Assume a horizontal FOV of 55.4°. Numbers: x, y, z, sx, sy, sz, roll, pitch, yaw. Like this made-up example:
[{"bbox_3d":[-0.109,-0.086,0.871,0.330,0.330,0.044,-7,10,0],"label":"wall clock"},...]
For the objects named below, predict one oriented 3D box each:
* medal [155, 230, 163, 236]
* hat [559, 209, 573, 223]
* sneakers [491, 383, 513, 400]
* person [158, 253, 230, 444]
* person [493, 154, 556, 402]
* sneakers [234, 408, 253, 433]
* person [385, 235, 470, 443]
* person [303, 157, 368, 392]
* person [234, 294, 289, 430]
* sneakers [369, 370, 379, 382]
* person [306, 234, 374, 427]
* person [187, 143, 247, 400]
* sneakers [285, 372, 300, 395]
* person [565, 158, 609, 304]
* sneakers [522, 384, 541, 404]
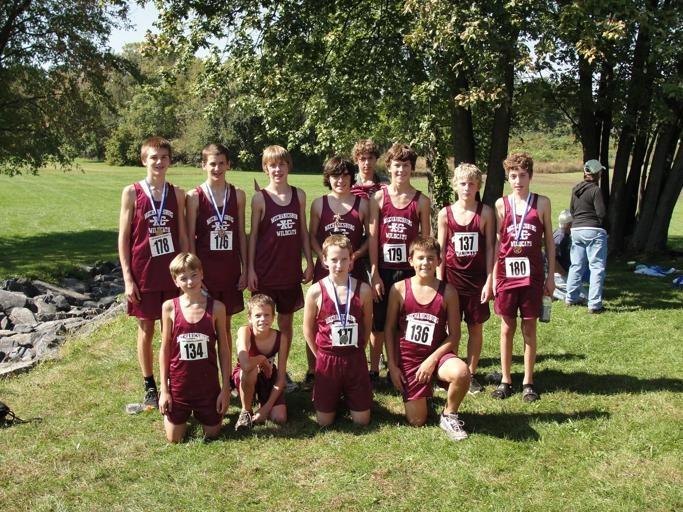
[{"bbox_3d":[-2.111,-0.271,7.510,0.076,0.080,0.057,2,-4,-11],"label":"medal"},{"bbox_3d":[4.087,-0.743,11.923,0.175,0.257,0.206,17,-8,42],"label":"hat"},{"bbox_3d":[1.934,1.630,7.829,0.128,0.124,0.297,-2,-7,37],"label":"sneakers"},{"bbox_3d":[-1.611,0.990,7.127,0.748,1.999,0.447,-1,7,-10],"label":"person"},{"bbox_3d":[2.174,0.232,7.795,0.718,2.899,0.566,3,7,15],"label":"person"},{"bbox_3d":[-1.083,1.826,7.236,0.104,0.143,0.299,6,15,2],"label":"sneakers"},{"bbox_3d":[0.942,0.872,7.196,0.924,2.103,0.695,1,7,4],"label":"person"},{"bbox_3d":[0.001,0.185,8.101,0.861,2.905,0.819,-6,9,-26],"label":"person"},{"bbox_3d":[-0.898,1.179,7.321,0.566,1.454,0.410,0,7,-6],"label":"person"},{"bbox_3d":[0.408,1.524,8.253,0.111,0.202,0.099,34,-52,-29],"label":"sneakers"},{"bbox_3d":[-0.028,1.127,7.511,0.760,2.768,0.699,2,13,15],"label":"person"},{"bbox_3d":[-1.510,0.145,7.936,0.750,2.912,0.720,-2,16,-18],"label":"person"},{"bbox_3d":[-0.639,1.619,8.243,0.092,0.133,0.275,-2,-2,-25],"label":"sneakers"},{"bbox_3d":[4.504,-0.414,11.751,0.713,2.616,0.792,-4,6,-27],"label":"person"},{"bbox_3d":[2.256,1.624,7.736,0.209,0.166,0.199,2,8,7],"label":"sneakers"}]
